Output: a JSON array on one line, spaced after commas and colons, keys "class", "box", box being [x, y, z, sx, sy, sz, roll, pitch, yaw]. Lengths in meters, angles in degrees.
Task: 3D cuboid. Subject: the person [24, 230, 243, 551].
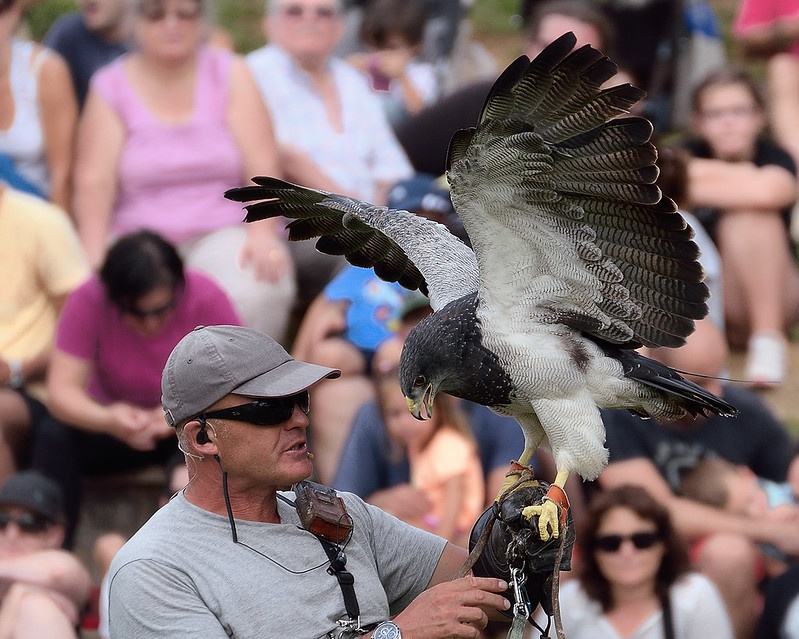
[{"class": "person", "box": [-1.289, 0.266, 9.365, 1.096, 0.753, 1.421, 5, 29, -18]}]

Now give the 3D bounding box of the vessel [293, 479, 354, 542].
[{"class": "vessel", "box": [-0.327, 0.761, 7.800, 0.192, 0.091, 0.258, 23, 24, -29]}]

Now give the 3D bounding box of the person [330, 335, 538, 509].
[{"class": "person", "box": [0.083, 0.562, 9.441, 0.634, 0.246, 0.656, -7, 20, 18]}]

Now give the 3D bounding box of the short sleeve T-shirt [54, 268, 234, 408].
[{"class": "short sleeve T-shirt", "box": [-1.234, 0.106, 8.949, 0.647, 0.587, 0.326, 0, 20, -9]}]

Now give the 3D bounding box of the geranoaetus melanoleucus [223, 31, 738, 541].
[{"class": "geranoaetus melanoleucus", "box": [0.718, -0.263, 8.592, 1.917, 1.928, 2.912, -11, 3, -20]}]
